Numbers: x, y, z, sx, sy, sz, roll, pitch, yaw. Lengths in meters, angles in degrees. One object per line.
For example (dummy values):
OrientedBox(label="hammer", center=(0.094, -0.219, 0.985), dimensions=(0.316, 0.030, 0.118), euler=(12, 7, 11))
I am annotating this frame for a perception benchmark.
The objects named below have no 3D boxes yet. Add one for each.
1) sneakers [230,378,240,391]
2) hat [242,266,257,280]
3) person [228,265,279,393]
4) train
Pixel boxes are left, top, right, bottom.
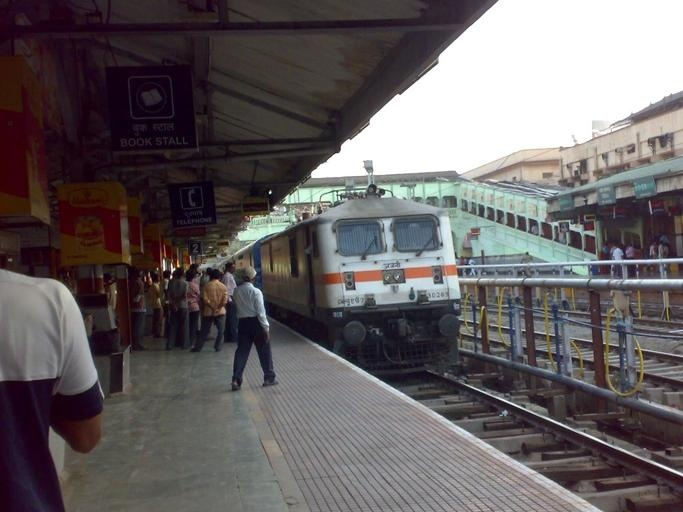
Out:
OrientedBox(label="sneakers", center=(-1.634, 1.999, 8.755), dimensions=(0.077, 0.081, 0.208), euler=(-2, -33, -5))
OrientedBox(label="hat", center=(-1.464, 0.280, 9.005), dimensions=(0.265, 0.204, 0.376), euler=(0, -5, 2))
OrientedBox(label="person", center=(-1.447, 1.118, 8.994), dimensions=(0.713, 1.879, 0.787), euler=(-4, 1, -5))
OrientedBox(label="train", center=(-0.121, 0.400, 14.049), dimensions=(2.573, 3.402, 6.909), euler=(-5, 1, -23))
